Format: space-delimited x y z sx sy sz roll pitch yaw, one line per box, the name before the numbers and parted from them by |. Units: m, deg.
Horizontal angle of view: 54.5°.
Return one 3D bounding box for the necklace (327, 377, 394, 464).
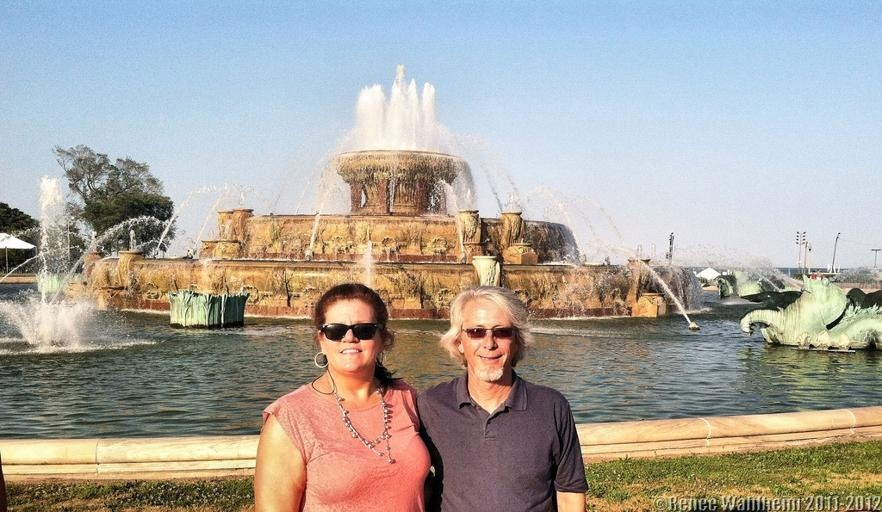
necklace | -1.099 2.097 11.063 0.547 1.413 0.167 -18 -19 -31
